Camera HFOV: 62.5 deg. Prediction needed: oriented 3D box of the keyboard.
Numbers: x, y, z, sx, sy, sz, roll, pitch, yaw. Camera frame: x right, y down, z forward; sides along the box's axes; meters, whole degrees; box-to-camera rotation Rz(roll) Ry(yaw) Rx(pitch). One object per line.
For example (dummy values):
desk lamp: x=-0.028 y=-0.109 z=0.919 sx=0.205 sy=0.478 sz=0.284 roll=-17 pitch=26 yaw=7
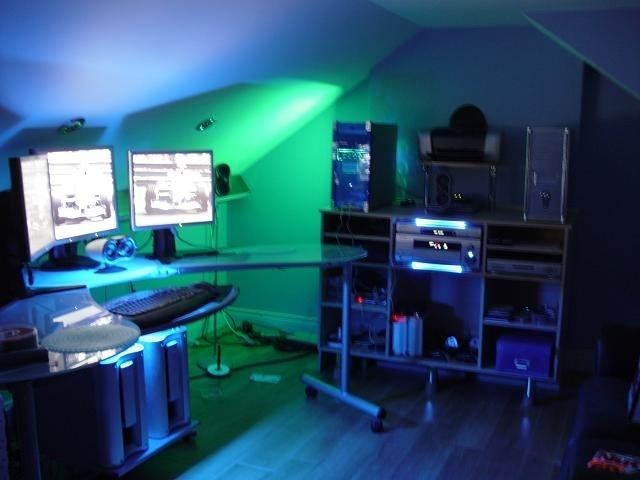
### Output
keyboard: x=-0.797 y=0.303 z=2.703 sx=0.433 sy=0.069 sz=0.547 roll=11 pitch=17 yaw=39

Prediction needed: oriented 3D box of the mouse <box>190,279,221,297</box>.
mouse: x=-0.597 y=0.257 z=2.824 sx=0.076 sy=0.041 sz=0.112 roll=6 pitch=7 yaw=14

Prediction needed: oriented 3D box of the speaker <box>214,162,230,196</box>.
speaker: x=-0.740 y=-0.458 z=4.002 sx=0.049 sy=0.213 sz=0.154 roll=4 pitch=-1 yaw=20
